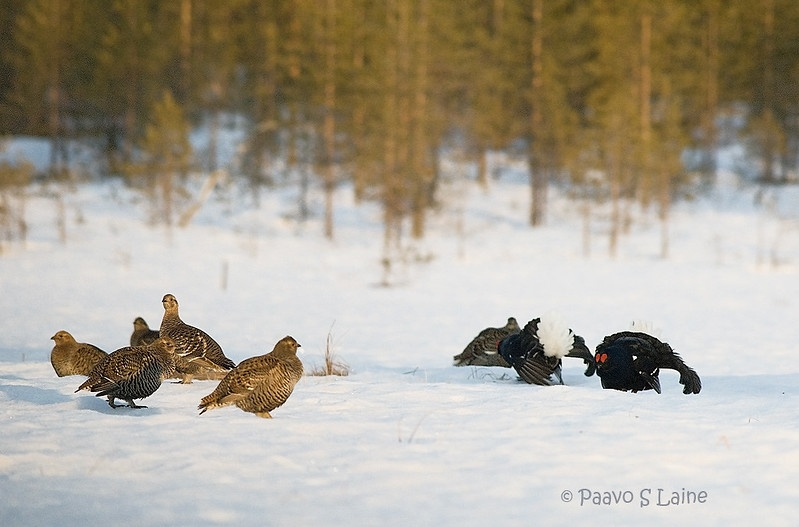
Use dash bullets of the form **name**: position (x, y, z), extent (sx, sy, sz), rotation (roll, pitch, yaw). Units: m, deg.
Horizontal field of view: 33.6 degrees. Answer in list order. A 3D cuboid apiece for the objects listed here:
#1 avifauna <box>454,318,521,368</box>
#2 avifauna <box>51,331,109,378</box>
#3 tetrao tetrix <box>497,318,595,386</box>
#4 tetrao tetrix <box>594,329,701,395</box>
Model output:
- **avifauna**: position (1.958, 1.726, 28.782), extent (1.505, 1.173, 0.788), rotation (-2, 6, 14)
- **avifauna**: position (-6.640, 1.913, 27.526), extent (1.382, 1.037, 0.958), rotation (5, 0, -44)
- **tetrao tetrix**: position (2.976, 1.772, 27.310), extent (1.359, 1.023, 1.735), rotation (-6, 5, -21)
- **tetrao tetrix**: position (4.793, 2.048, 26.949), extent (1.419, 0.576, 1.557), rotation (-2, 9, 34)
